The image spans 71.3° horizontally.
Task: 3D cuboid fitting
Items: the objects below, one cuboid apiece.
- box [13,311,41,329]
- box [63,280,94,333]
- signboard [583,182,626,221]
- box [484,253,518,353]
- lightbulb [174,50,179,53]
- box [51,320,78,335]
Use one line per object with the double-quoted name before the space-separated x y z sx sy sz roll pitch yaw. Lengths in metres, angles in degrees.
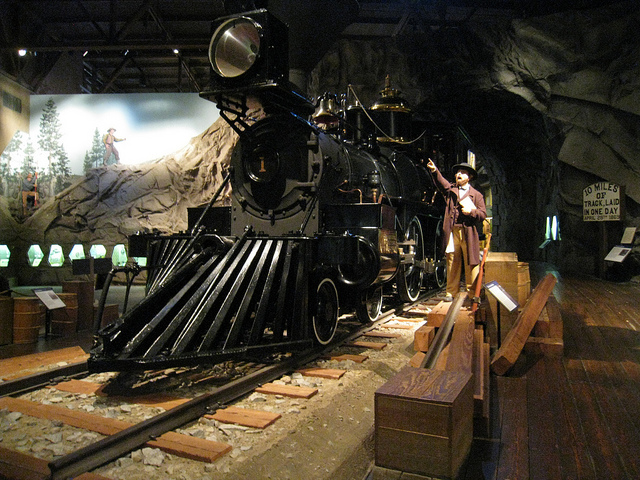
"box" -3.946 1.058 6.084 0.243 0.232 0.248 -2 -5 17
"box" -3.693 0.983 6.880 0.433 0.753 0.461 2 0 -28
"signboard" 6.969 -0.967 11.158 1.063 0.982 0.132 -4 3 -10
"box" 1.960 0.690 4.830 0.295 0.858 0.942 0 -4 17
"lightbulb" -4.789 -6.276 14.984 0.119 0.113 0.120 2 7 8
"box" -3.811 1.281 6.659 0.239 0.151 0.240 0 -4 -1
